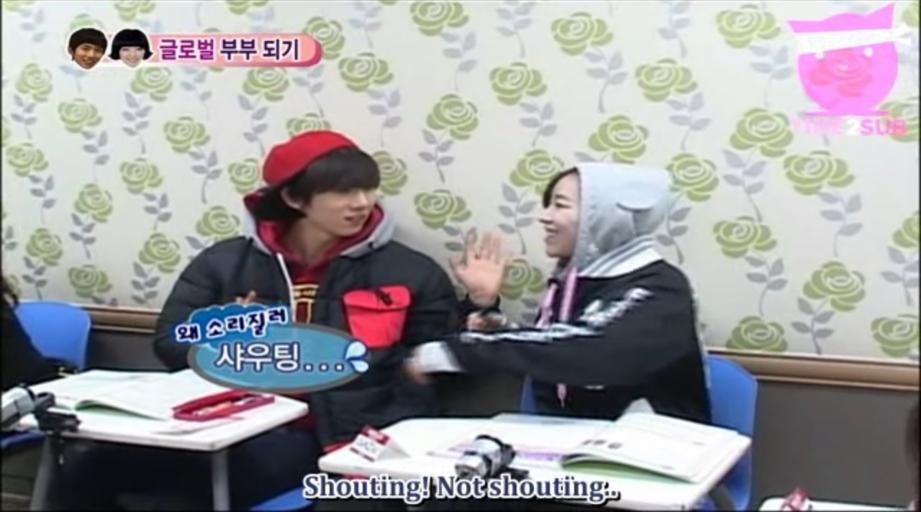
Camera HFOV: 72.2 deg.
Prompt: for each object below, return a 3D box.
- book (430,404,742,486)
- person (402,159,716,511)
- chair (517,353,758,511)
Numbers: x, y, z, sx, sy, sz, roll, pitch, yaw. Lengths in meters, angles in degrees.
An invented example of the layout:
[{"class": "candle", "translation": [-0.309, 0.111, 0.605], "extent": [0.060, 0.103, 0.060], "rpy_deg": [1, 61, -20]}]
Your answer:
[{"class": "book", "translation": [0.556, 0.667, 2.302], "extent": [0.920, 0.258, 0.164], "rpy_deg": [5, 0, 12]}, {"class": "person", "translation": [0.495, 0.381, 2.576], "extent": [1.131, 1.390, 0.764], "rpy_deg": [-7, 18, 2]}, {"class": "chair", "translation": [0.717, 0.618, 2.293], "extent": [0.541, 0.423, 0.522], "rpy_deg": [1, -10, 39]}]
